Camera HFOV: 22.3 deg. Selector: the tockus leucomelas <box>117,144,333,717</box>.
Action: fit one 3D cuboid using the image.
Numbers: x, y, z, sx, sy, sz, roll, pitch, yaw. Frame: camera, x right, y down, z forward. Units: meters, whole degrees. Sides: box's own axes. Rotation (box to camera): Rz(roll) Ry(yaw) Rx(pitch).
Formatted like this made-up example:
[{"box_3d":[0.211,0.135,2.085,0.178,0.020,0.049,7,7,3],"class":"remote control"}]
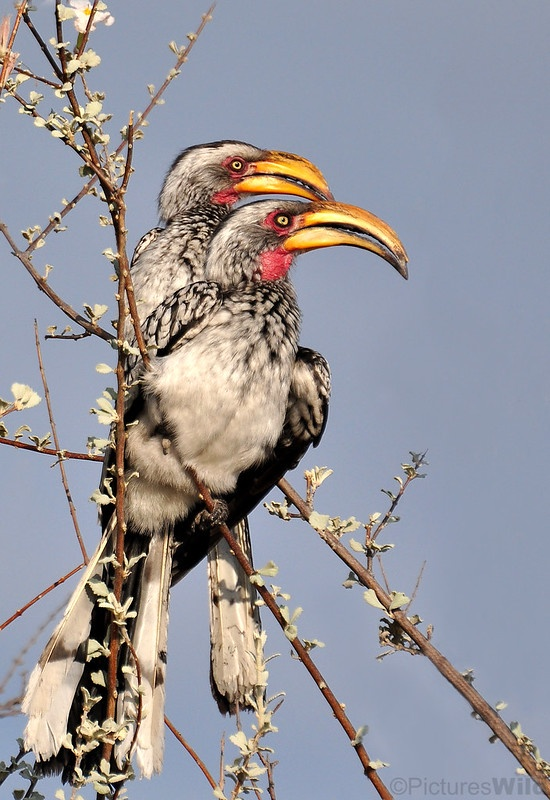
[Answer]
[{"box_3d":[-0.108,0.008,5.529,0.713,2.433,0.977,8,-6,-31],"class":"tockus leucomelas"}]
